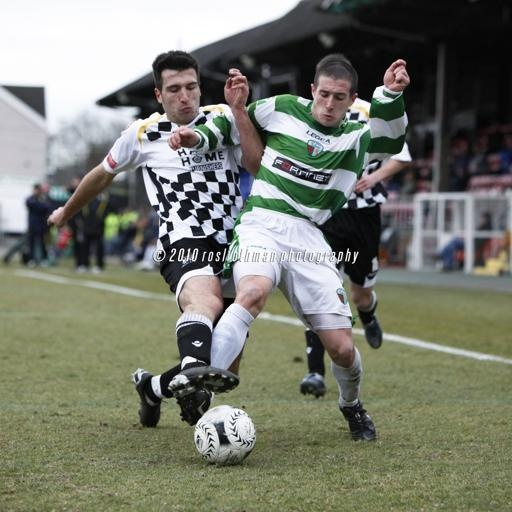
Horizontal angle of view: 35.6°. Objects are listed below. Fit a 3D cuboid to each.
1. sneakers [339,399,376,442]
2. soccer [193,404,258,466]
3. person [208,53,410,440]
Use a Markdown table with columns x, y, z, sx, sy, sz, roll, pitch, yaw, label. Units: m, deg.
| x | y | z | sx | sy | sz | roll | pitch | yaw | label |
| --- | --- | --- | --- | --- | --- | --- | --- | --- | --- |
| 0.476 | 0.754 | 3.638 | 0.083 | 0.111 | 0.222 | -25 | 20 | -16 | sneakers |
| -0.124 | 0.722 | 3.303 | 0.249 | 0.203 | 0.224 | 4 | 6 | 25 | soccer |
| 0.253 | -0.058 | 3.544 | 0.748 | 1.755 | 0.609 | 4 | 4 | 7 | person |
